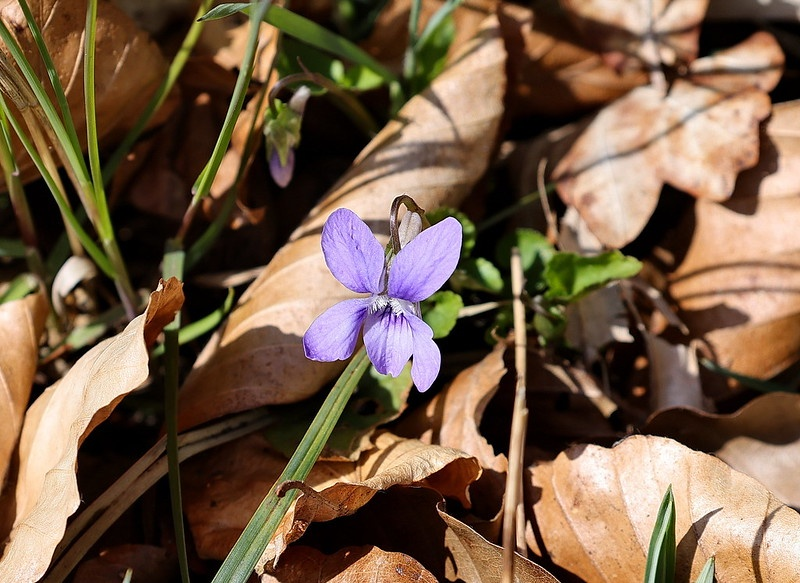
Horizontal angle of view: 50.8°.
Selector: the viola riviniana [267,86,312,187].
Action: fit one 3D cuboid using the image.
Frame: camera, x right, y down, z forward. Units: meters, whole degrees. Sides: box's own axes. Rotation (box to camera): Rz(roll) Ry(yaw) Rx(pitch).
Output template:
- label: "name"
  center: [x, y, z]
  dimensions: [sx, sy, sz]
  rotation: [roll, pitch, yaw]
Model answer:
- label: "viola riviniana"
  center: [-0.342, -0.474, 2.553]
  dimensions: [0.137, 0.312, 0.156]
  rotation: [1, 19, -8]
